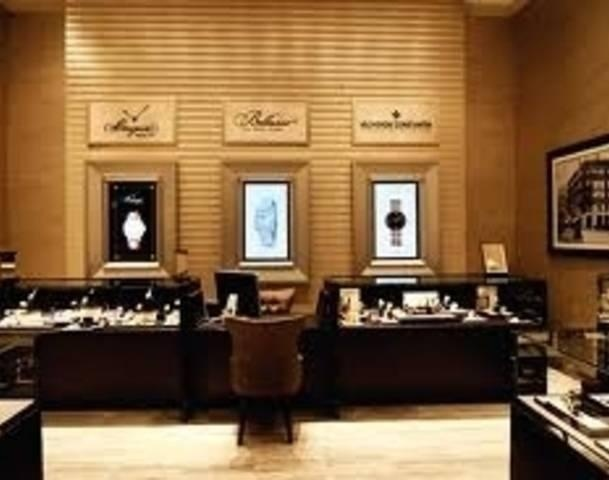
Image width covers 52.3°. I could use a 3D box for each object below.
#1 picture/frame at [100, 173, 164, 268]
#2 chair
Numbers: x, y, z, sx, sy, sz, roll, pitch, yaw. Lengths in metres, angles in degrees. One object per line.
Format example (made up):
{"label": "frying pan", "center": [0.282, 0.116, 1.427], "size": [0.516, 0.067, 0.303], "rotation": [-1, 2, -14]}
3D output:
{"label": "picture/frame", "center": [-2.153, -0.203, 7.833], "size": [0.580, 1.106, 0.089], "rotation": [0, -17, -16]}
{"label": "chair", "center": [-0.402, 1.395, 6.285], "size": [0.769, 1.272, 0.666], "rotation": [0, 0, -5]}
